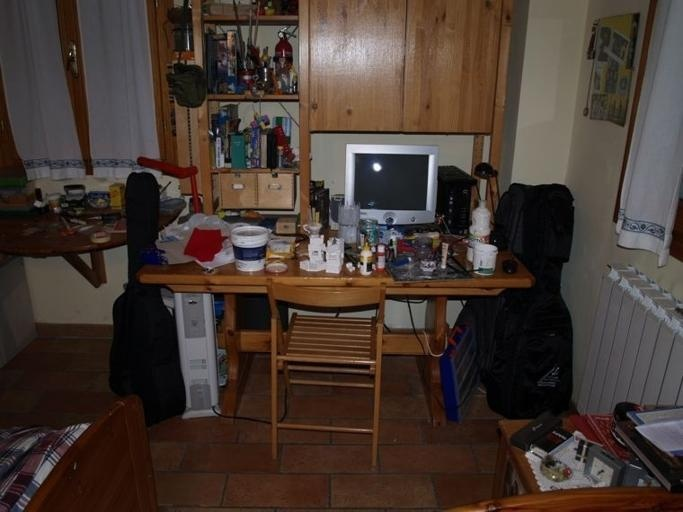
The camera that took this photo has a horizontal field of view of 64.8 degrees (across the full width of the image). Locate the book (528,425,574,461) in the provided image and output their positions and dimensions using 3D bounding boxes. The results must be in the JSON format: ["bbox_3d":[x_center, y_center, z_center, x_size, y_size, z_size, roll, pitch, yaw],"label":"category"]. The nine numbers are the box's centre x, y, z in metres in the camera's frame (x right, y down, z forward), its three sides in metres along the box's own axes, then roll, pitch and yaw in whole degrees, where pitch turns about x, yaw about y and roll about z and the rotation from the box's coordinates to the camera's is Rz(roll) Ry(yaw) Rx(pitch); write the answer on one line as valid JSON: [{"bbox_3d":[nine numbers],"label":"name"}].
[{"bbox_3d":[0.774,0.678,1.976,0.155,0.034,0.084,-23,28,-35],"label":"book"}]

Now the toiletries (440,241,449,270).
[{"bbox_3d":[0.548,-0.010,2.865,0.039,0.123,0.142,4,20,10],"label":"toiletries"}]

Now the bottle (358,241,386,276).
[{"bbox_3d":[0.159,0.013,2.810,0.188,0.209,0.114,-1,16,-10],"label":"bottle"}]

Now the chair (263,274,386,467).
[{"bbox_3d":[-0.071,0.546,2.871,0.574,0.942,0.555,1,24,2],"label":"chair"}]

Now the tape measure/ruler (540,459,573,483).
[{"bbox_3d":[0.745,0.747,1.873,0.075,0.026,0.076,17,34,39],"label":"tape measure/ruler"}]

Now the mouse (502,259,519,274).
[{"bbox_3d":[0.879,0.057,2.814,0.067,0.058,0.068,-18,30,-25],"label":"mouse"}]

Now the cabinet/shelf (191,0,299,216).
[{"bbox_3d":[-0.553,-0.878,3.364,0.667,1.304,0.455,-1,19,-5],"label":"cabinet/shelf"}]

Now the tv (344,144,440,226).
[{"bbox_3d":[0.318,-0.493,3.345,0.540,0.473,0.308,4,28,10],"label":"tv"}]

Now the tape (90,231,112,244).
[{"bbox_3d":[-1.409,-0.108,3.143,0.106,0.043,0.107,-8,21,-22],"label":"tape"}]

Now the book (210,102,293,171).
[{"bbox_3d":[-0.544,-0.736,3.425,0.708,0.519,0.382,-2,18,-5],"label":"book"}]
